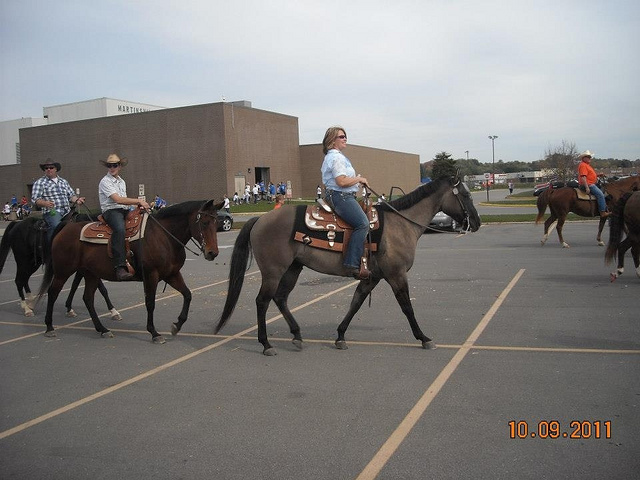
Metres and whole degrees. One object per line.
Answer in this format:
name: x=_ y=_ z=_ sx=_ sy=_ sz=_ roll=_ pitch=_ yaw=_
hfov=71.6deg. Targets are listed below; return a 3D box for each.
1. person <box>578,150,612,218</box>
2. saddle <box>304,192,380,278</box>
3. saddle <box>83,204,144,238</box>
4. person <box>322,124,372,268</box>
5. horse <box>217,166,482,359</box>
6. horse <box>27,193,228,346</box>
person: x=10.363 y=-2.129 z=16.831 sx=0.960 sy=2.483 sz=0.918 roll=0 pitch=7 yaw=26
saddle: x=0.352 y=-0.059 z=6.787 sx=1.112 sy=1.236 sz=0.497 roll=-2 pitch=6 yaw=8
saddle: x=-3.618 y=-0.264 z=7.805 sx=0.921 sy=0.773 sz=0.732 roll=2 pitch=11 yaw=-19
person: x=0.403 y=-0.673 z=6.683 sx=0.514 sy=2.114 sz=0.799 roll=-7 pitch=8 yaw=-35
horse: x=0.395 y=0.294 z=6.868 sx=4.011 sy=2.621 sz=0.997 roll=-4 pitch=6 yaw=-6
horse: x=-3.642 y=0.478 z=8.397 sx=2.761 sy=2.382 sz=4.085 roll=-7 pitch=7 yaw=-31
